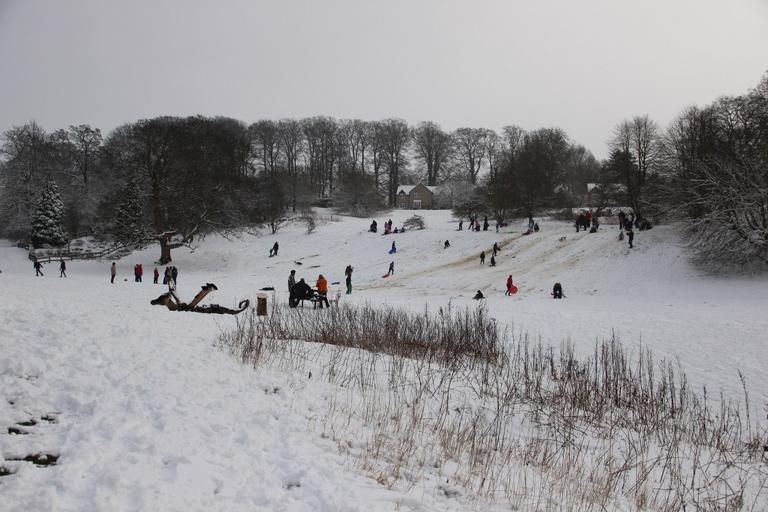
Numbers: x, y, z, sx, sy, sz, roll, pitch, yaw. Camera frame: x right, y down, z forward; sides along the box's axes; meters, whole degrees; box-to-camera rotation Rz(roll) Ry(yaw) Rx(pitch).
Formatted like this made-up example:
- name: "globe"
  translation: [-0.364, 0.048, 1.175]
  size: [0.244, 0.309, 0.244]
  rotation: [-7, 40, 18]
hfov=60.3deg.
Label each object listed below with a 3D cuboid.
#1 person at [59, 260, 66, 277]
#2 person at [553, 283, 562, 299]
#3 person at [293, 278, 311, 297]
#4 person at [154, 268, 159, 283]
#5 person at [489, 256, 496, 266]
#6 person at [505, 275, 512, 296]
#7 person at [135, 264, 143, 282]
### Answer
- name: "person"
  translation: [-21.129, 0.781, 43.426]
  size: [0.238, 0.974, 1.407]
  rotation: [-2, 8, -21]
- name: "person"
  translation: [9.470, 1.859, 36.087]
  size: [0.551, 0.772, 1.182]
  rotation: [2, 7, 14]
- name: "person"
  translation: [-4.015, 1.604, 32.127]
  size: [0.642, 0.979, 0.480]
  rotation: [2, -27, -10]
- name: "person"
  translation: [-14.532, 1.281, 42.136]
  size: [0.200, 0.834, 0.669]
  rotation: [-2, 8, -21]
- name: "person"
  translation: [7.378, 0.355, 44.954]
  size: [0.276, 0.510, 0.740]
  rotation: [10, -8, 18]
- name: "person"
  translation: [7.124, 1.578, 37.336]
  size: [0.414, 1.087, 1.643]
  rotation: [2, 7, 11]
- name: "person"
  translation: [-15.857, 1.136, 42.730]
  size: [0.427, 1.178, 1.366]
  rotation: [-3, 8, -25]
